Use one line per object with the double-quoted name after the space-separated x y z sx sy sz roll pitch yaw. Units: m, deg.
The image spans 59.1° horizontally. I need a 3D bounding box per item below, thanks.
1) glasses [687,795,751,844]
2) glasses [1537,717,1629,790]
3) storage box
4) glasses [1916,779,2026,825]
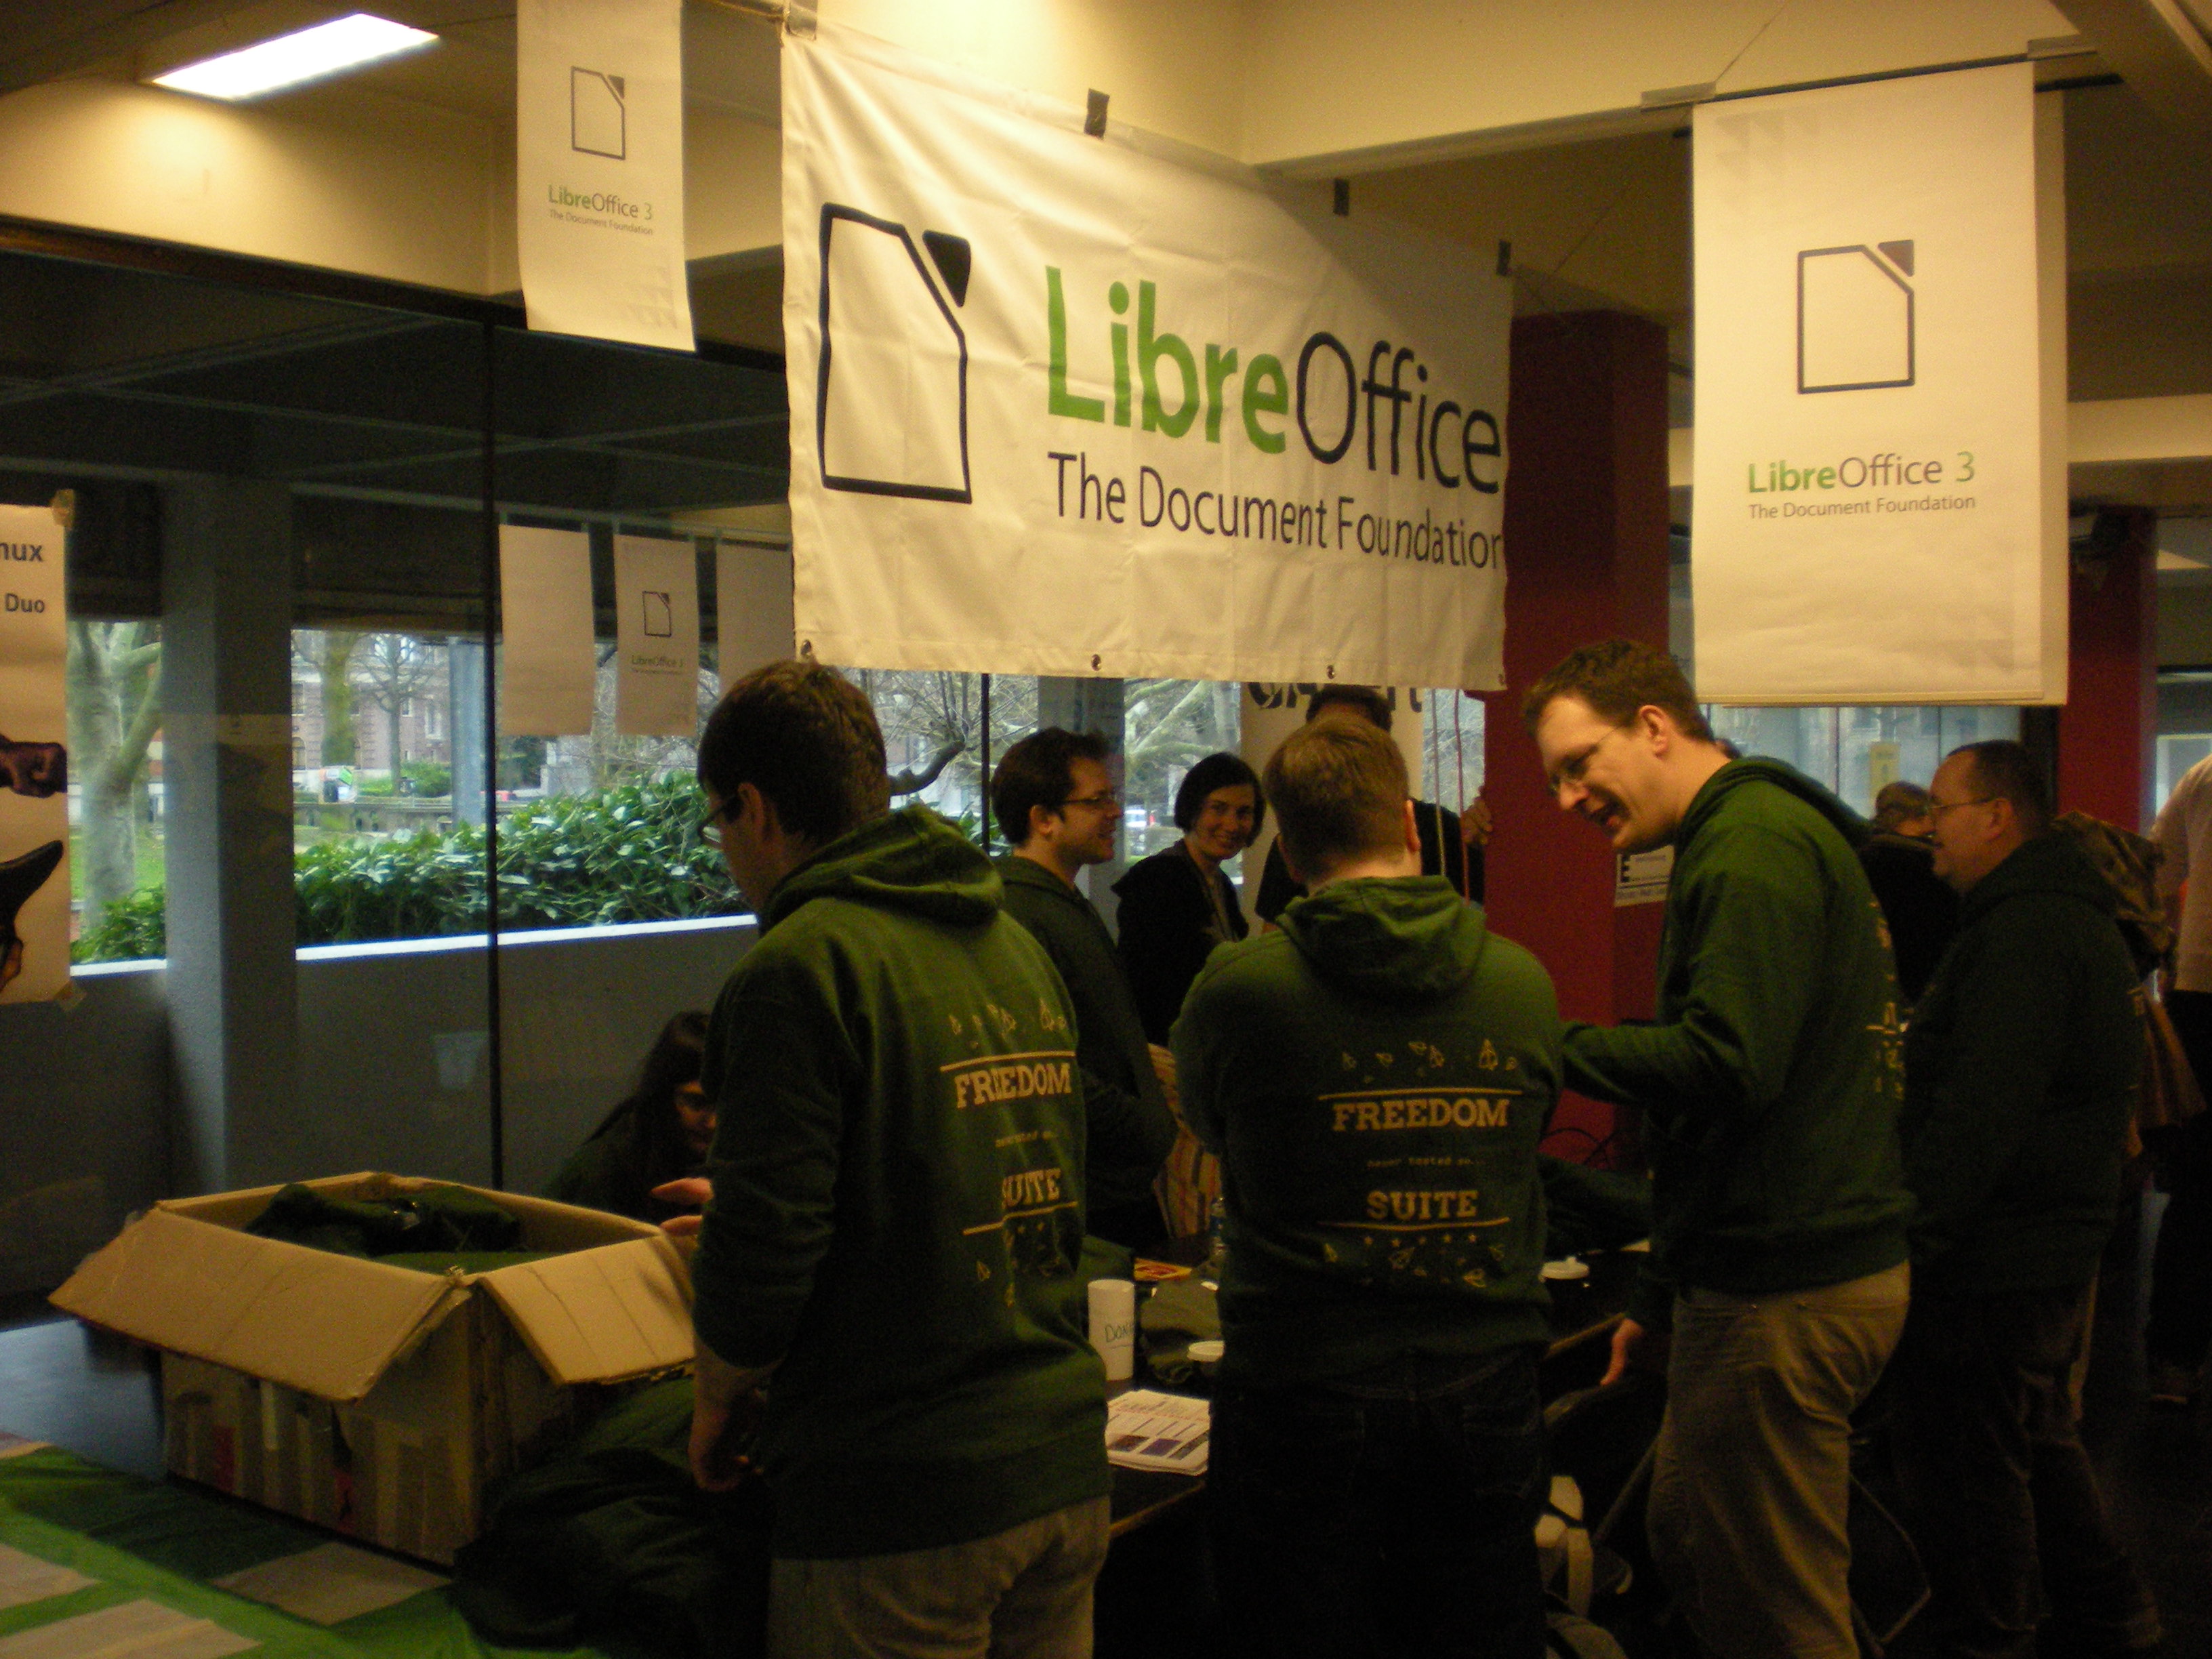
-0.762 -0.024 3.816 0.036 0.135 0.118 12 -3 -37 "glasses"
0.868 -0.125 3.560 0.125 0.098 0.131 15 31 -45 "glasses"
-1.173 0.863 3.116 0.988 0.364 0.411 -2 3 16 "storage box"
2.006 -0.064 4.513 0.132 0.129 0.107 0 12 0 "glasses"
